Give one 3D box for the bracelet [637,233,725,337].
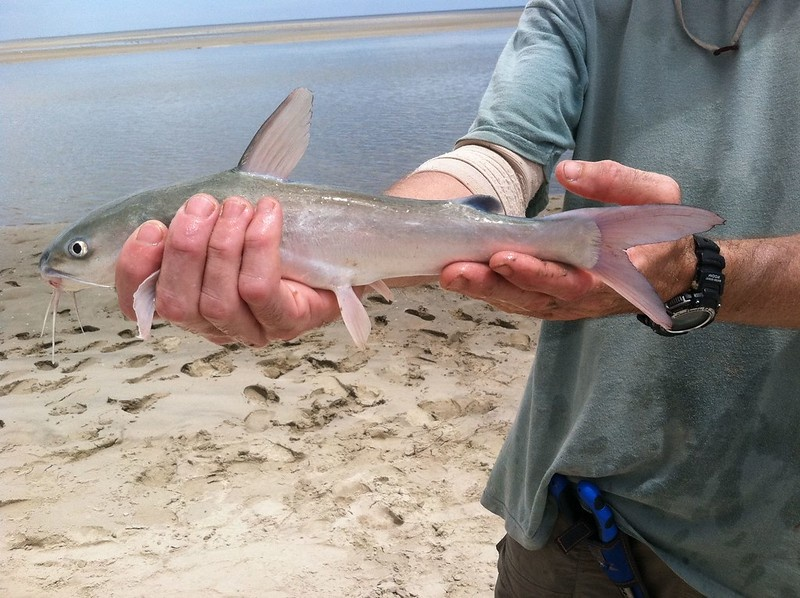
[{"bbox_3d":[1.204,-0.047,3.293,0.231,0.393,0.359,8,37,25],"label":"bracelet"}]
